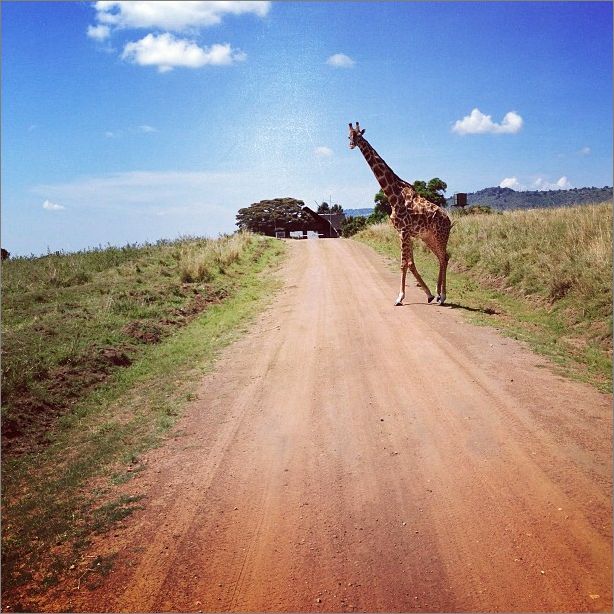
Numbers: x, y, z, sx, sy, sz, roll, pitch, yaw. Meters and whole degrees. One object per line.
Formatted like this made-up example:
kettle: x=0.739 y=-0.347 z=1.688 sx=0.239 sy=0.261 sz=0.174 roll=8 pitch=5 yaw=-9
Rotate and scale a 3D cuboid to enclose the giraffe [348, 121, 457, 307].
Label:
giraffe: x=2.666 y=-2.560 z=13.187 sx=2.444 sy=4.751 sz=1.636 roll=2 pitch=10 yaw=20
